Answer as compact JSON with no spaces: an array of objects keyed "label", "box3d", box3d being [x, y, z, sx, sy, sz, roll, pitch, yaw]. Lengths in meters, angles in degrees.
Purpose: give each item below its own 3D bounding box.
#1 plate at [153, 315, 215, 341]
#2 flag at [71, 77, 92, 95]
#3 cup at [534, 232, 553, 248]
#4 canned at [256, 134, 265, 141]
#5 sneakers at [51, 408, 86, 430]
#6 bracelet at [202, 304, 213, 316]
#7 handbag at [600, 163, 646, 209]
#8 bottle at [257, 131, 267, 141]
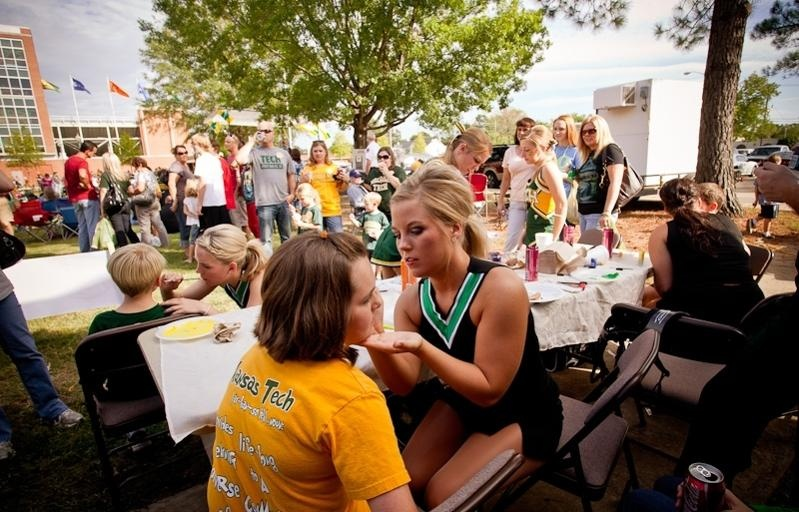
[{"label":"plate","box3d":[-1.498,0.520,3.441,0.209,0.021,0.199,-11,22,-35]},{"label":"flag","box3d":[-19.098,-10.191,28.957,0.531,1.010,1.627,-13,13,-38]},{"label":"cup","box3d":[1.345,-0.148,4.594,0.135,0.119,0.164,-2,1,-8]},{"label":"canned","box3d":[-2.243,-1.911,7.845,0.139,0.136,0.046,12,31,23]},{"label":"sneakers","box3d":[-3.055,1.508,4.511,0.260,0.114,0.128,12,25,0]},{"label":"bracelet","box3d":[-1.518,0.421,3.825,0.067,0.034,0.086,2,12,-32]},{"label":"handbag","box3d":[2.630,-0.844,5.780,0.269,0.533,0.812,6,14,42]},{"label":"bottle","box3d":[-2.261,-1.930,7.862,0.072,0.158,0.285,-12,13,-35]}]
